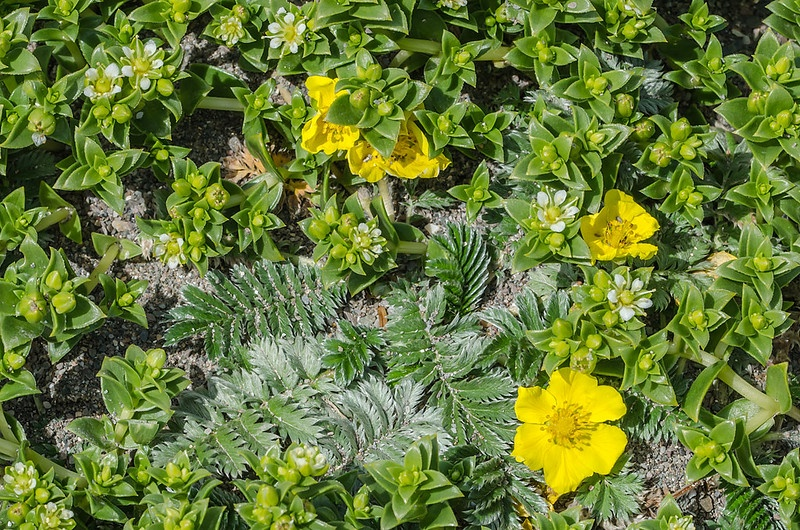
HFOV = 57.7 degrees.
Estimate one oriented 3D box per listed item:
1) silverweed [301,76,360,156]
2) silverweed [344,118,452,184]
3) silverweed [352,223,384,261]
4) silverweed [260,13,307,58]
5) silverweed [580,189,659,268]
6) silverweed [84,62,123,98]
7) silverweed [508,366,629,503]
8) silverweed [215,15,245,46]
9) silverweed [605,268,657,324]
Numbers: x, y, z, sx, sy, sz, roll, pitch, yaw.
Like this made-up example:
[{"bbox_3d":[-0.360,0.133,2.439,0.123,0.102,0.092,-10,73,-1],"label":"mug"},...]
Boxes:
[{"bbox_3d":[-0.343,-0.728,3.590,0.292,0.213,0.348,6,76,-1],"label":"silverweed"},{"bbox_3d":[-0.015,-0.518,3.752,0.488,0.363,0.295,-27,78,-8],"label":"silverweed"},{"bbox_3d":[-0.160,-0.108,3.463,0.143,0.138,0.164,-43,81,-11],"label":"silverweed"},{"bbox_3d":[-0.549,-1.133,3.520,0.186,0.129,0.210,27,77,4],"label":"silverweed"},{"bbox_3d":[1.070,-0.192,3.577,0.350,0.172,0.392,22,76,8],"label":"silverweed"},{"bbox_3d":[-1.404,-0.874,3.419,0.166,0.094,0.161,-2,76,-3],"label":"silverweed"},{"bbox_3d":[0.796,0.785,3.489,0.581,0.212,0.538,-22,79,-7],"label":"silverweed"},{"bbox_3d":[-0.842,-1.159,3.592,0.129,0.097,0.131,36,78,6],"label":"silverweed"},{"bbox_3d":[1.037,0.146,3.308,0.189,0.101,0.255,-11,86,0],"label":"silverweed"}]
